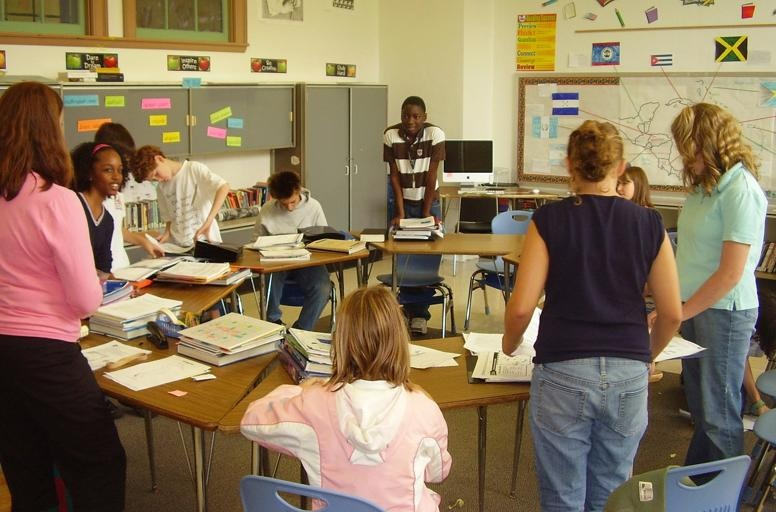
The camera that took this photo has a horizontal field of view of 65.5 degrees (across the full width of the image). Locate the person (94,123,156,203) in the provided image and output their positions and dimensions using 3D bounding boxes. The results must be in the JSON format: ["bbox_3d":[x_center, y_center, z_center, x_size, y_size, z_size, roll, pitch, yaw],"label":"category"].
[{"bbox_3d":[-2.506,-0.895,5.701,0.198,0.771,0.474,6,11,44],"label":"person"}]

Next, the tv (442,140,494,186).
[{"bbox_3d":[1.035,-1.219,7.706,0.618,0.564,0.198,0,8,2],"label":"tv"}]

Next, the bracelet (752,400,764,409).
[{"bbox_3d":[2.326,0.929,3.778,0.050,0.019,0.052,-20,-10,43],"label":"bracelet"}]

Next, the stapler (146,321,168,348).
[{"bbox_3d":[-1.213,0.414,3.196,0.068,0.089,0.238,-3,13,-32],"label":"stapler"}]
